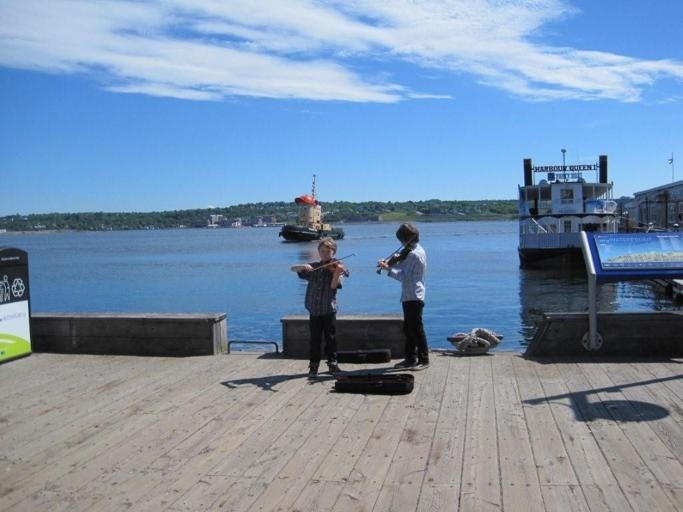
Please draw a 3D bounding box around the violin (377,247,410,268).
[{"bbox_3d":[0.621,0.005,7.530,0.403,0.099,0.197,-30,-17,-5],"label":"violin"}]

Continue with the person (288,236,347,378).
[{"bbox_3d":[-0.215,0.596,7.568,0.643,1.632,0.561,-5,12,-13],"label":"person"}]

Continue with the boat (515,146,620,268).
[{"bbox_3d":[14.715,-2.710,41.092,5.748,6.457,10.591,1,10,17],"label":"boat"}]

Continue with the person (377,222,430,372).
[{"bbox_3d":[0.794,0.488,7.582,0.640,1.794,0.471,-7,12,-18],"label":"person"}]

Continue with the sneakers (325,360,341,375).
[{"bbox_3d":[-0.097,1.352,7.583,0.189,0.153,0.131,-2,6,-5],"label":"sneakers"}]

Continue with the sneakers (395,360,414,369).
[{"bbox_3d":[0.798,1.337,7.684,0.275,0.100,0.085,1,0,6],"label":"sneakers"}]
